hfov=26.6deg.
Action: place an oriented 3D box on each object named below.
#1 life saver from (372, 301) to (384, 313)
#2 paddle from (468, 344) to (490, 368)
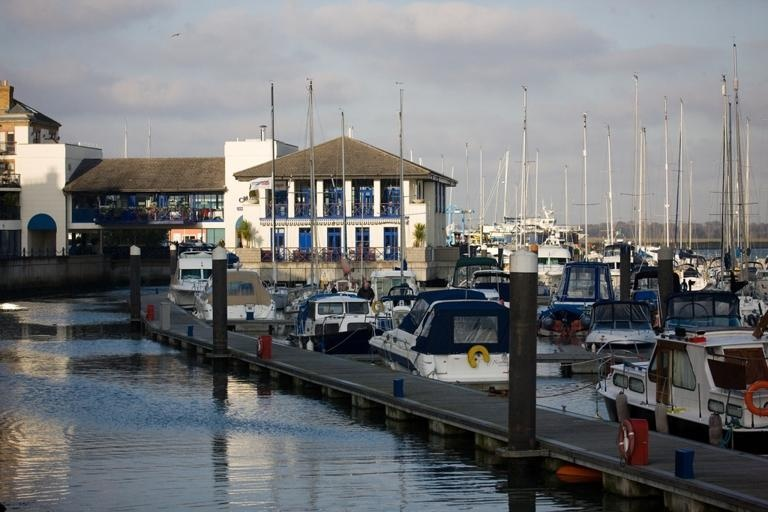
[{"bbox_3d":[-0.269,2.429,78.877,0.422,0.558,0.584,2,-6,-14],"label":"life saver"},{"bbox_3d":[3.708,3.853,62.981,0.902,0.763,0.223,1,0,3],"label":"paddle"}]
